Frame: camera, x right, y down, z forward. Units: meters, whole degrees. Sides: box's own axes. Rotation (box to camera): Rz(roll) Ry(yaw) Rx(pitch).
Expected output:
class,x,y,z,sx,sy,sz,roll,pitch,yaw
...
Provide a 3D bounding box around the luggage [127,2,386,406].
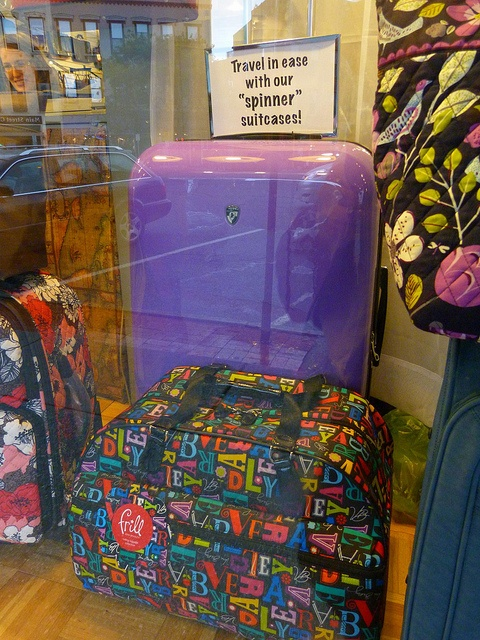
class,x,y,z,sx,sy,sz,roll,pitch,yaw
luggage,0.027,-0.118,0.812,0.385,0.558,0.192,4,51,10
